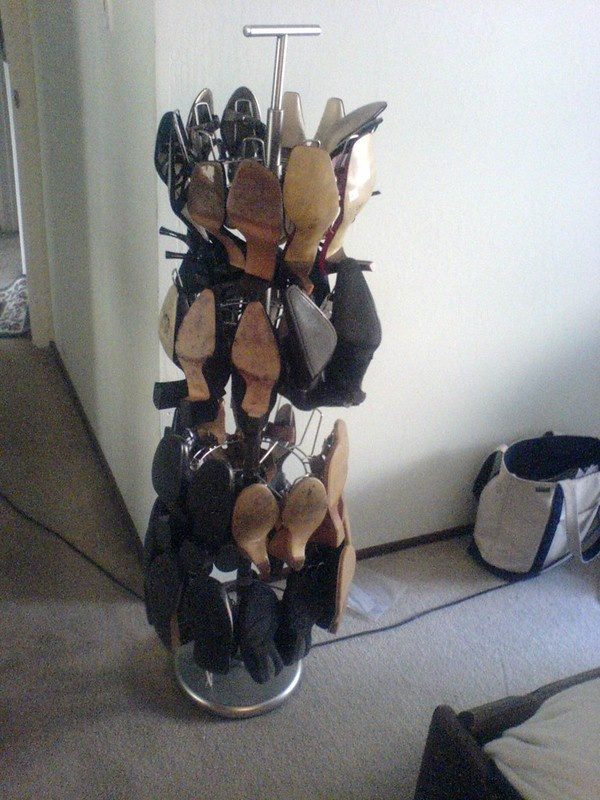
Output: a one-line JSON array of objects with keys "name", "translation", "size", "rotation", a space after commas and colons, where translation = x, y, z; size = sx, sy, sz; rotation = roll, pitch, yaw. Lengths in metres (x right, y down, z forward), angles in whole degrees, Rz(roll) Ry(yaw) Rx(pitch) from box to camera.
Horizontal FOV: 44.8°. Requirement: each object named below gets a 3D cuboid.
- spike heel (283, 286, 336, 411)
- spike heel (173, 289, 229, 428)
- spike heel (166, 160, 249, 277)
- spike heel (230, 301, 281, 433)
[{"name": "spike heel", "translation": [0.010, -0.062, 0.859], "size": [0.038, 0.135, 0.062], "rotation": [2, 6, 20]}, {"name": "spike heel", "translation": [-0.122, -0.042, 0.910], "size": [0.046, 0.180, 0.069], "rotation": [3, 14, 5]}, {"name": "spike heel", "translation": [-0.105, -0.192, 0.848], "size": [0.041, 0.141, 0.059], "rotation": [-7, 41, 12]}, {"name": "spike heel", "translation": [-0.056, -0.042, 0.857], "size": [0.042, 0.150, 0.054], "rotation": [2, 14, -2]}]
